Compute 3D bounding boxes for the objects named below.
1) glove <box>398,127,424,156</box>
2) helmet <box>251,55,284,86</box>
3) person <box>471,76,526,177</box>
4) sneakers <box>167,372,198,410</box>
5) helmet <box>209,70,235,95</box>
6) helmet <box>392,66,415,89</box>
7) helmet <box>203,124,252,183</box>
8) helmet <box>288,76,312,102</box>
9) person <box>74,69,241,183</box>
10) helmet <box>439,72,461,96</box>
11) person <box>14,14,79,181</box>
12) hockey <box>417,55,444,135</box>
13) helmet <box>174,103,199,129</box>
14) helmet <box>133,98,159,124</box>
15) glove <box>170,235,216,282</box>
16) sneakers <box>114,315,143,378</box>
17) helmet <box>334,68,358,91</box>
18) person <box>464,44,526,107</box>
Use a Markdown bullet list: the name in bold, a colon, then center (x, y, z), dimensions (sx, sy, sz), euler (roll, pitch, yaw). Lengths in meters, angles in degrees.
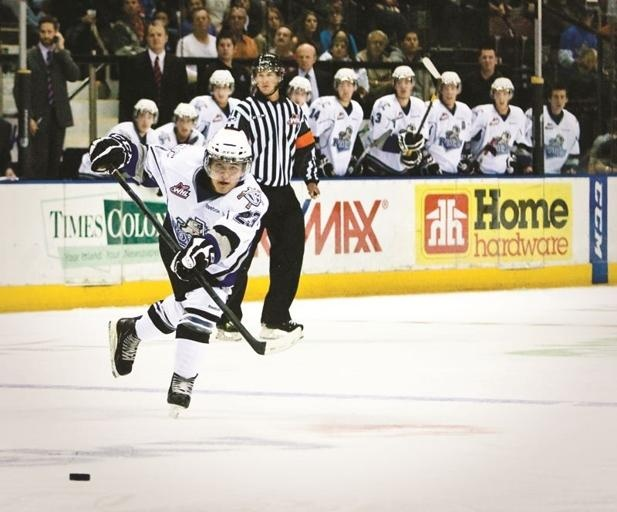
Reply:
- **glove**: center (0.874, -1.013, 9.221), dimensions (0.170, 0.256, 0.122), euler (-4, -21, 7)
- **helmet**: center (-0.267, -1.165, 6.696), dimensions (0.128, 0.156, 0.160), euler (3, 31, 0)
- **person**: center (1.720, -1.193, 9.773), dimensions (0.545, 0.869, 0.175), euler (-3, 8, -23)
- **sneakers**: center (-0.616, 0.664, 5.203), dimensions (0.122, 0.218, 0.221), euler (1, 8, 5)
- **helmet**: center (-0.739, -1.438, 8.890), dimensions (0.145, 0.176, 0.192), euler (1, 17, -1)
- **helmet**: center (0.824, -1.564, 9.373), dimensions (0.175, 0.097, 0.261), euler (2, 13, 4)
- **helmet**: center (-0.395, -0.496, 5.262), dimensions (0.253, 0.252, 0.209), euler (-2, 8, -19)
- **helmet**: center (-0.075, -1.417, 8.989), dimensions (0.169, 0.221, 0.228), euler (2, 40, 1)
- **person**: center (-1.184, -1.076, 8.890), dimensions (1.158, 0.847, 0.426), euler (-18, -3, 4)
- **helmet**: center (1.273, -1.554, 9.636), dimensions (0.141, 0.182, 0.205), euler (2, 29, 0)
- **person**: center (-2.043, -1.252, 8.418), dimensions (0.251, 1.245, 0.601), euler (1, 8, 8)
- **hockey**: center (1.026, -1.445, 9.320), dimensions (0.221, 0.138, 0.764), euler (18, -25, 6)
- **helmet**: center (-0.995, -1.146, 8.698), dimensions (0.143, 0.182, 0.170), euler (2, -3, -6)
- **helmet**: center (-1.345, -1.171, 8.712), dimensions (0.174, 0.193, 0.202), euler (6, 29, -20)
- **glove**: center (-0.563, 0.004, 5.119), dimensions (0.217, 0.223, 0.130), euler (8, 11, 43)
- **sneakers**: center (-0.909, 0.439, 5.447), dimensions (0.138, 0.336, 0.105), euler (1, 5, 23)
- **helmet**: center (0.313, -1.526, 9.145), dimensions (0.203, 0.154, 0.149), euler (-1, 8, -11)
- **person**: center (1.676, -1.658, 9.804), dimensions (0.519, 0.850, 0.255), euler (1, -10, -8)
